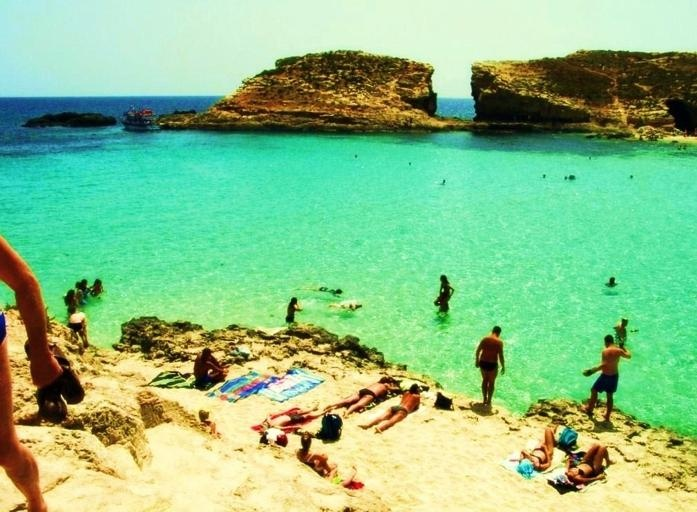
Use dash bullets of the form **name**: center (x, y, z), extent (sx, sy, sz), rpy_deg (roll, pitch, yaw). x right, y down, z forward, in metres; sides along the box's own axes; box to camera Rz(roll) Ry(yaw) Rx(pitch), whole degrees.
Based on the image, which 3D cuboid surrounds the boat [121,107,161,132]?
- **boat**: center (-24.752, -16.132, 70.792), extent (3.765, 2.983, 8.734), rpy_deg (-6, 12, -18)

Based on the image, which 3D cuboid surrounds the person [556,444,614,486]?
- **person**: center (4.672, 4.152, 11.791), extent (1.130, 0.399, 0.570), rpy_deg (-4, 22, -27)

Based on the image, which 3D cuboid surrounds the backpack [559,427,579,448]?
- **backpack**: center (4.544, 3.770, 12.396), extent (0.379, 0.271, 0.421), rpy_deg (2, -5, 10)

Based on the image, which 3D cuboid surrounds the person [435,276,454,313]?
- **person**: center (2.906, 1.086, 18.276), extent (0.562, 1.166, 0.862), rpy_deg (2, 14, 17)

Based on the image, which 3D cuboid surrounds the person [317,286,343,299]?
- **person**: center (-0.544, 1.150, 19.517), extent (0.987, 0.177, 0.625), rpy_deg (7, 13, 36)

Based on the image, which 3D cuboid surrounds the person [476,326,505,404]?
- **person**: center (3.256, 2.565, 13.805), extent (0.582, 1.870, 0.826), rpy_deg (1, 15, 12)

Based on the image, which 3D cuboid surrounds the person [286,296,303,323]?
- **person**: center (-1.631, 1.578, 17.521), extent (0.483, 0.715, 0.914), rpy_deg (-3, 12, -5)

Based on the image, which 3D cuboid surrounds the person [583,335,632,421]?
- **person**: center (5.688, 2.679, 13.315), extent (0.712, 1.851, 0.715), rpy_deg (10, 19, 38)

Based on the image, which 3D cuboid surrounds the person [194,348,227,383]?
- **person**: center (-3.295, 2.628, 14.348), extent (0.827, 0.734, 0.754), rpy_deg (2, 5, -35)
